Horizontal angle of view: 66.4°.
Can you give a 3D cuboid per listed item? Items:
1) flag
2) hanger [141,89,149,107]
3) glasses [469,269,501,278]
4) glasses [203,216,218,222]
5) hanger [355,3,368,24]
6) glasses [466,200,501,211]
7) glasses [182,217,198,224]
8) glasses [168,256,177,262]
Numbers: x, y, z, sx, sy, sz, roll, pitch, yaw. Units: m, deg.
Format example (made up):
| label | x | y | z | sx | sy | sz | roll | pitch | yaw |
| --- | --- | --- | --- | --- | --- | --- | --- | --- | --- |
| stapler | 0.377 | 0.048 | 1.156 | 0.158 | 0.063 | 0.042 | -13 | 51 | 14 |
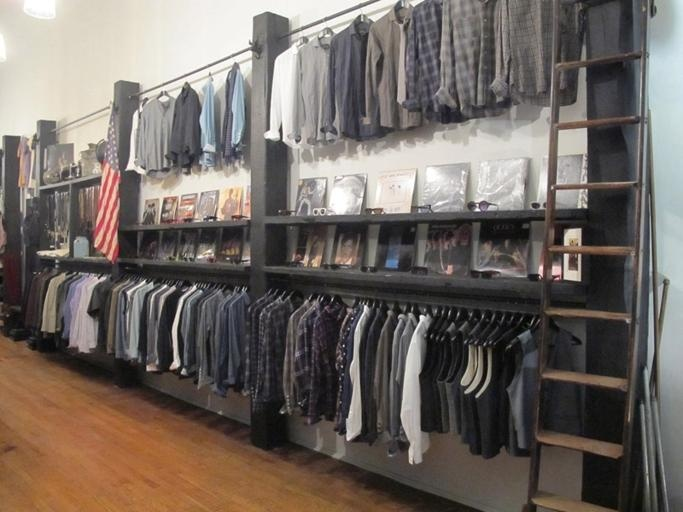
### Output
| label | x | y | z | sx | sy | sz | roll | pitch | yaw |
| --- | --- | --- | --- | --- | --- | --- | --- | --- | --- |
| flag | -2.735 | -0.867 | 6.154 | 0.448 | 1.850 | 0.294 | 6 | 8 | 42 |
| hanger | -2.305 | -1.814 | 6.115 | 0.092 | 0.206 | 0.497 | -2 | 8 | -21 |
| glasses | 0.993 | 0.126 | 3.618 | 0.195 | 0.048 | 0.083 | 1 | 7 | 4 |
| glasses | -1.282 | -0.361 | 5.108 | 0.103 | 0.046 | 0.356 | -2 | 8 | -17 |
| hanger | 0.153 | -1.939 | 4.226 | 0.101 | 0.171 | 0.252 | 1 | 7 | 2 |
| glasses | 0.981 | -0.350 | 3.653 | 0.188 | 0.073 | 0.315 | 4 | 8 | 26 |
| glasses | -1.572 | -0.363 | 5.368 | 0.126 | 0.047 | 0.491 | -1 | 8 | -15 |
| glasses | -1.855 | 0.041 | 5.717 | 0.093 | 0.060 | 0.105 | 3 | 5 | 12 |
